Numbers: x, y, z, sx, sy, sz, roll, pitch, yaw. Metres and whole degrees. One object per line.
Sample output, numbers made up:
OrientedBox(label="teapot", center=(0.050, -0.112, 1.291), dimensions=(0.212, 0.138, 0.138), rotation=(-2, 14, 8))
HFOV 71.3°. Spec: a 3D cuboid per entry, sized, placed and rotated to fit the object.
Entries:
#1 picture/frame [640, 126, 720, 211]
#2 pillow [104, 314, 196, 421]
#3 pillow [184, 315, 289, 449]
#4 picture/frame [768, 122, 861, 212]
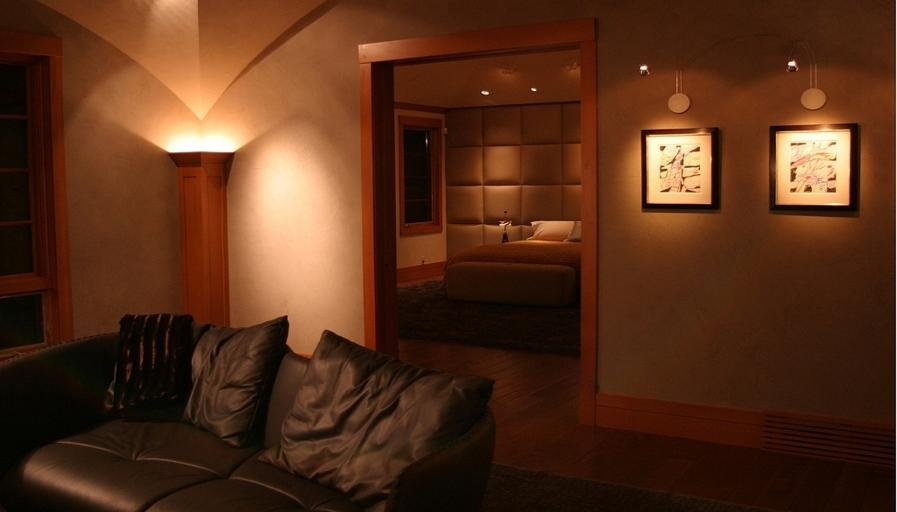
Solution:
OrientedBox(label="picture/frame", center=(1.984, -0.751, 5.265), dimensions=(0.767, 0.839, 0.071), rotation=(1, 2, 15))
OrientedBox(label="pillow", center=(-2.195, 0.804, 4.632), dimensions=(0.597, 0.671, 0.206), rotation=(1, -16, -4))
OrientedBox(label="pillow", center=(-1.497, 0.940, 4.421), dimensions=(0.941, 0.794, 0.500), rotation=(1, 1, 43))
OrientedBox(label="picture/frame", center=(2.946, -0.712, 4.966), dimensions=(0.767, 0.836, 0.069), rotation=(1, 6, 16))
